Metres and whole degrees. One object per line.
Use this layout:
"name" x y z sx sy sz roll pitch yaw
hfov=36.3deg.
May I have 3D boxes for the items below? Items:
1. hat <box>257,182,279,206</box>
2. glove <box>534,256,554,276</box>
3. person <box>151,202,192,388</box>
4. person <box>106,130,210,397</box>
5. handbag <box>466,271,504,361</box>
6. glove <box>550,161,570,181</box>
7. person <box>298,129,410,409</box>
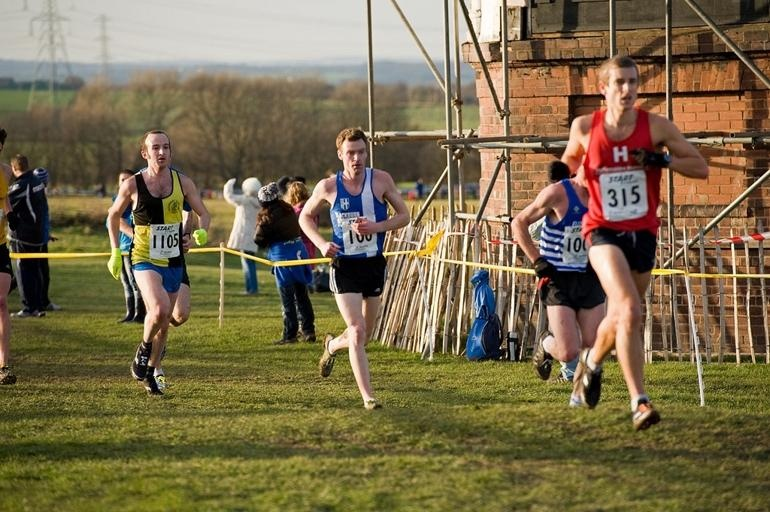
"hat" -1.658 -0.889 17.182 0.267 0.168 0.332 7 35 39
"glove" 1.753 0.113 12.901 0.255 0.212 0.177 1 3 -12
"person" -2.663 0.341 14.005 0.461 2.385 0.777 2 -10 3
"person" -2.700 0.074 13.823 1.016 3.101 0.667 2 2 27
"handbag" 1.325 0.783 15.609 0.461 1.203 0.278 1 2 4
"glove" 2.080 -1.016 14.019 0.190 0.235 0.250 4 -6 -29
"person" -0.358 0.089 13.157 1.141 3.049 0.748 2 2 11
